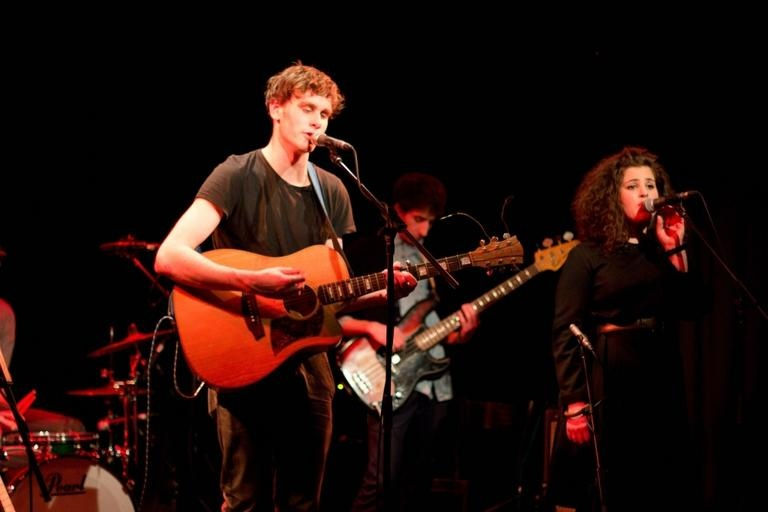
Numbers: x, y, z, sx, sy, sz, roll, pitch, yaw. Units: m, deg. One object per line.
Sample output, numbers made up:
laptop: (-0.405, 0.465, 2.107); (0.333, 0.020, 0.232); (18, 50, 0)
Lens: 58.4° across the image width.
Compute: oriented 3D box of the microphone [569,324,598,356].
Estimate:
microphone: (1.554, 0.630, 5.374); (0.104, 0.097, 0.531); (-30, 11, -1)

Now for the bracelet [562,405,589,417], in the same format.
bracelet: (1.539, 1.222, 5.491); (0.197, 0.098, 0.047); (-6, -9, 38)
